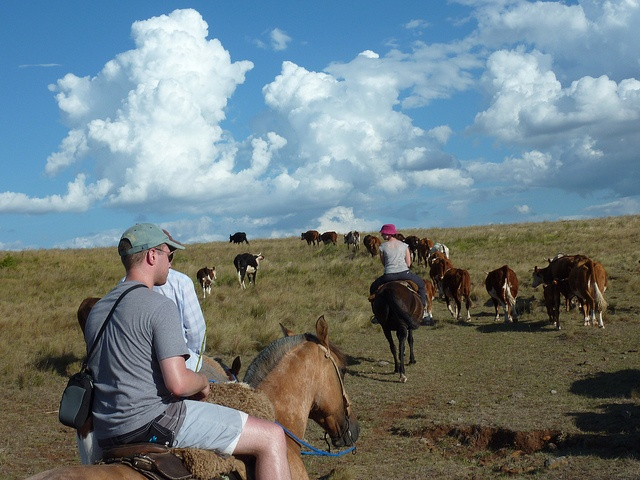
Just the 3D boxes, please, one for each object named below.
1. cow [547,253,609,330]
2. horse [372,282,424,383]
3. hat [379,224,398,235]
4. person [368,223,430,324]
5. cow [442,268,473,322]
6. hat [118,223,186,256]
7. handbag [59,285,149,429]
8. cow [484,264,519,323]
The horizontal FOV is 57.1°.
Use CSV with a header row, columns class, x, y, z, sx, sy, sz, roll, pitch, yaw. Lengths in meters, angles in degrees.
class,x,y,z,sx,sy,sz,roll,pitch,yaw
cow,7.664,1.514,16.859,0.943,1.856,1.682,-5,8,-3
horse,1.990,2.265,14.882,1.102,2.229,1.892,-2,9,19
hat,1.593,-0.228,13.415,0.425,0.285,0.497,0,-9,11
person,1.997,0.811,15.624,1.206,2.542,0.979,-3,21,6
cow,4.854,1.817,20.650,0.959,1.877,2.849,-3,9,14
hat,-2.179,0.020,7.382,0.522,0.272,0.344,3,-1,-33
handbag,-2.863,1.550,7.451,0.967,1.711,0.240,-9,9,-24
cow,6.002,1.732,19.000,0.789,1.799,1.427,-5,8,-1
